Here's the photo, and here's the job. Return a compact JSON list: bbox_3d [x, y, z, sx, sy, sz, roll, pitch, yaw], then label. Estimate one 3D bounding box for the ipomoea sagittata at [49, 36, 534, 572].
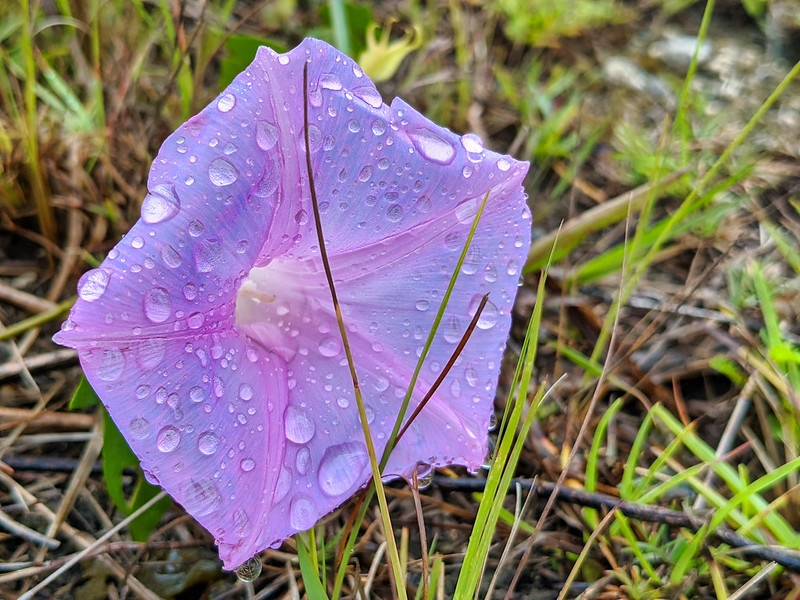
[{"bbox_3d":[-0.237,0.047,2.235,1.128,0.465,1.357,37,81,-1],"label":"ipomoea sagittata"}]
